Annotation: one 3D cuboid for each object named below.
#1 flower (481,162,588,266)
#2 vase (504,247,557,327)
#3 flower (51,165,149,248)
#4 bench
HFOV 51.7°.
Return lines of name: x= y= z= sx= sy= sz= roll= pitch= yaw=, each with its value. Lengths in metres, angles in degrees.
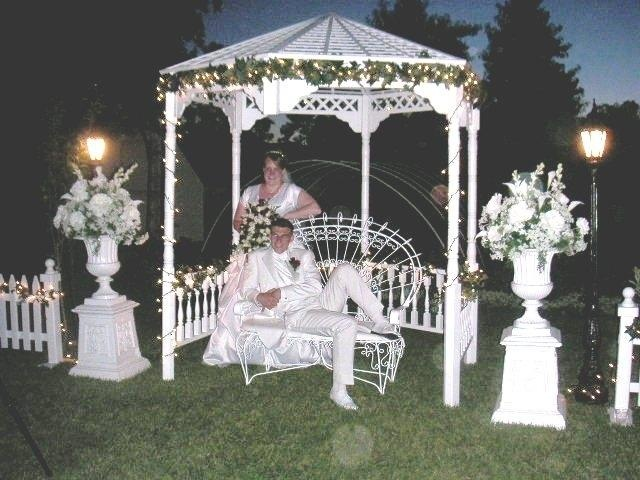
flower: x=2.486 y=-0.350 z=7.663 sx=1.044 sy=1.216 sz=1.153 roll=2 pitch=28 yaw=20
vase: x=2.425 y=0.564 z=7.550 sx=0.546 sy=0.889 sz=0.547 roll=0 pitch=-8 yaw=13
flower: x=-2.910 y=-0.379 z=8.997 sx=1.140 sy=0.998 sz=1.134 roll=6 pitch=8 yaw=3
bench: x=0.234 y=0.771 z=8.939 sx=2.233 sy=2.170 sz=2.214 roll=1 pitch=5 yaw=9
